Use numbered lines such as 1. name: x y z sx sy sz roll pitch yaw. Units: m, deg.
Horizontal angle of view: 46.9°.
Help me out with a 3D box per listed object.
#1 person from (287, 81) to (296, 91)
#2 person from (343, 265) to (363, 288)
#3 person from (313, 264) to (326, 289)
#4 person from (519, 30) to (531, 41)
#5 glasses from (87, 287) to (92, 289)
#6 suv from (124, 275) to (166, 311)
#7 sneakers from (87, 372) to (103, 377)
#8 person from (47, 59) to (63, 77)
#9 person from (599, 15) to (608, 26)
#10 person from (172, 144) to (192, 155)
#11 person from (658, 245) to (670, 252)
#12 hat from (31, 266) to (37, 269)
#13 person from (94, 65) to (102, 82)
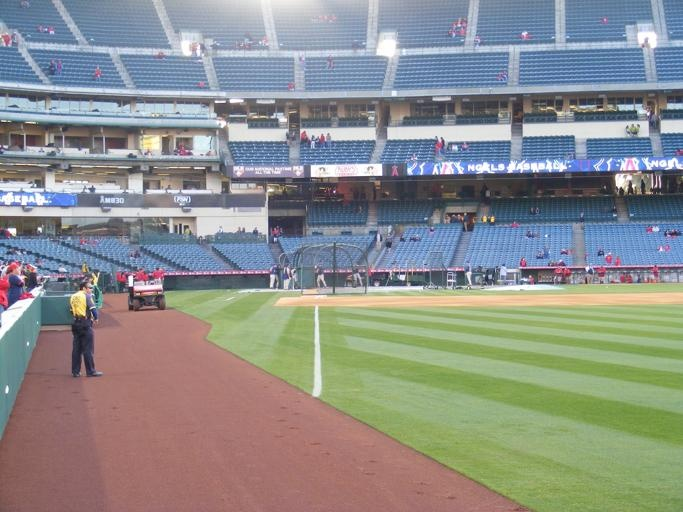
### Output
1. person: -3.887 -12.756 59.136 0.288 0.742 0.800 0 3 8
2. person: 0.454 1.185 45.415 1.211 1.369 1.251 0 2 10
3. person: -1.287 1.176 44.816 0.519 1.215 0.959 -1 7 -1
4. person: 14.389 -17.274 62.038 0.896 0.752 0.310 -2 -29 5
5. glasses: -5.632 0.699 17.481 0.073 0.046 0.039 -1 -8 -7
6. suv: -8.254 1.523 33.043 1.518 1.256 2.698 -2 0 -23
7. sneakers: -5.509 2.625 17.510 0.304 0.116 0.114 -3 13 -14
8. person: -20.407 -13.318 55.676 0.331 1.138 1.359 -7 -5 39
9. person: 20.696 -18.575 62.095 0.738 0.672 0.709 -4 0 -9
10. person: -11.494 -7.584 56.365 1.270 0.689 1.063 -2 7 -10
11. person: 19.967 -0.475 48.792 0.845 0.371 0.878 1 7 12
12. hat: -11.856 0.440 30.191 0.203 0.071 0.308 2 -3 -26
13. person: -17.624 -13.138 56.648 0.369 1.002 1.366 -3 7 -15
